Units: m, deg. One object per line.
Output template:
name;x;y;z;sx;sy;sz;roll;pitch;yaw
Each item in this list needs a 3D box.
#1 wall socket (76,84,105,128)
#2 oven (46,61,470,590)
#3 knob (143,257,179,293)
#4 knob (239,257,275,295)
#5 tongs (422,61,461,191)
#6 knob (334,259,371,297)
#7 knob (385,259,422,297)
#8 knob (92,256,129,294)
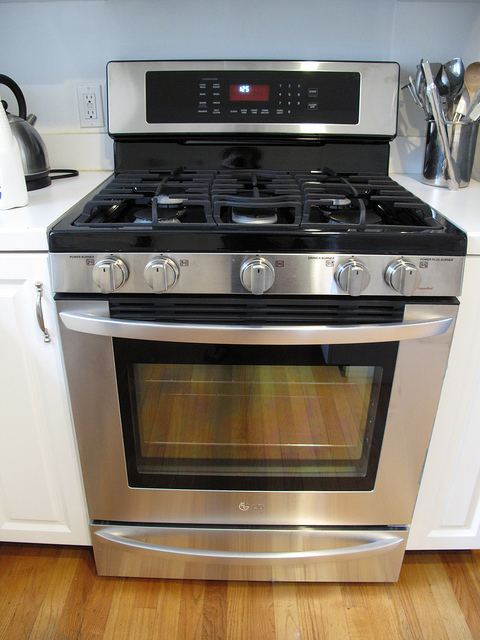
wall socket;-0.400;-0.568;1.337;0.062;0.105;0.012;-4;3;-7
oven;0.025;0.034;1.220;0.792;1.156;0.633;-2;27;-6
knob;-0.136;-0.081;0.860;0.052;0.054;0.028;-1;33;-3
knob;0.029;-0.079;0.862;0.052;0.060;0.031;0;33;-2
tongs;0.446;-0.436;1.126;0.076;0.369;0.036;-10;16;-19
knob;0.192;-0.076;0.863;0.052;0.056;0.030;-1;36;-4
knob;0.283;-0.070;0.871;0.058;0.064;0.030;-4;28;-7
knob;-0.224;-0.081;0.865;0.048;0.053;0.027;7;38;-1
